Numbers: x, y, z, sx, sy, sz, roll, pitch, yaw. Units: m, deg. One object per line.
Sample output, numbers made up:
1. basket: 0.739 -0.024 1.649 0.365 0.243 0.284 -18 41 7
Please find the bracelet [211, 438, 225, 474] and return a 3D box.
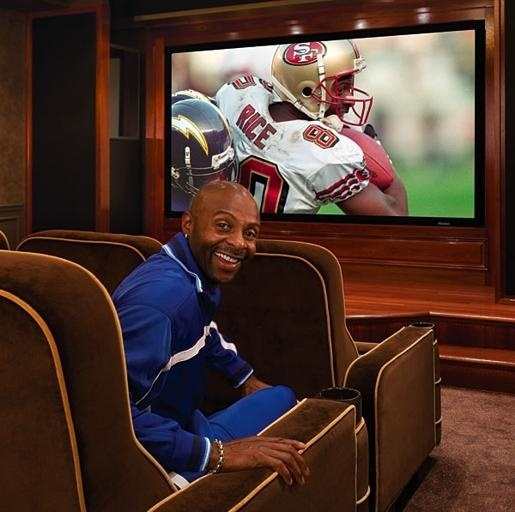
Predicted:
1. bracelet: -0.064 0.338 0.790 0.027 0.037 0.010 -13 -12 38
